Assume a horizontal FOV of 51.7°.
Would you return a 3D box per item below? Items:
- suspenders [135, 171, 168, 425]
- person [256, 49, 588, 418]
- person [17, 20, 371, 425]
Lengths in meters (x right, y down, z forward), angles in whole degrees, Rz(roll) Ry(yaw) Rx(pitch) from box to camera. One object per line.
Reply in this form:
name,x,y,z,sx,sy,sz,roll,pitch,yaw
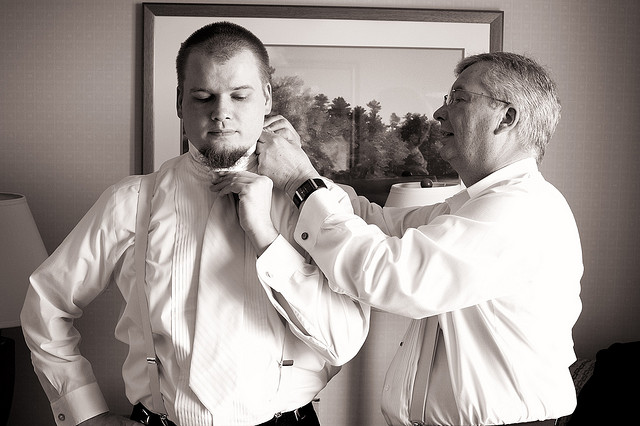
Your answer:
suspenders,-0.613,0.302,2.383,0.103,0.865,0.310,-1,11,-16
person,0.542,0.129,3.002,1.404,1.578,1.173,2,-1,11
person,-0.434,0.065,2.368,1.227,1.470,0.423,5,11,13
